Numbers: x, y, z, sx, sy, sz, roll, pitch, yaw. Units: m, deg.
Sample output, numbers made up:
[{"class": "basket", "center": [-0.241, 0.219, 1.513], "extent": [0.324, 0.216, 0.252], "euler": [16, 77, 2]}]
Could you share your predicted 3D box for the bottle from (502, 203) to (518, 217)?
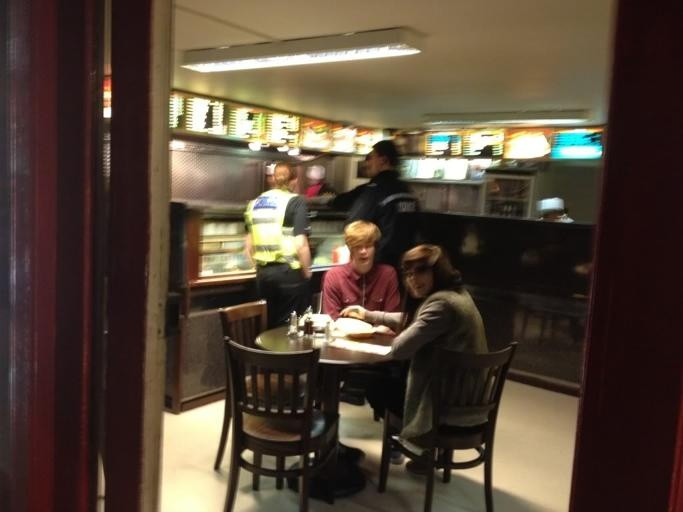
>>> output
[{"class": "bottle", "center": [0.340, -0.093, 1.137], "extent": [0.011, 0.028, 0.039], "euler": [-3, 11, -33]}]

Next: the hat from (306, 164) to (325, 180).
[{"class": "hat", "center": [-0.075, -0.239, 1.621], "extent": [0.043, 0.042, 0.045], "euler": [17, 48, 22]}]

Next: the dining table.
[{"class": "dining table", "center": [0.022, 0.540, 2.142], "extent": [0.557, 0.615, 0.550], "euler": [4, 15, 13]}]

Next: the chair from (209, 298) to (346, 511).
[{"class": "chair", "center": [-0.224, 0.556, 1.956], "extent": [0.426, 0.728, 0.653], "euler": [0, 9, -13]}]
